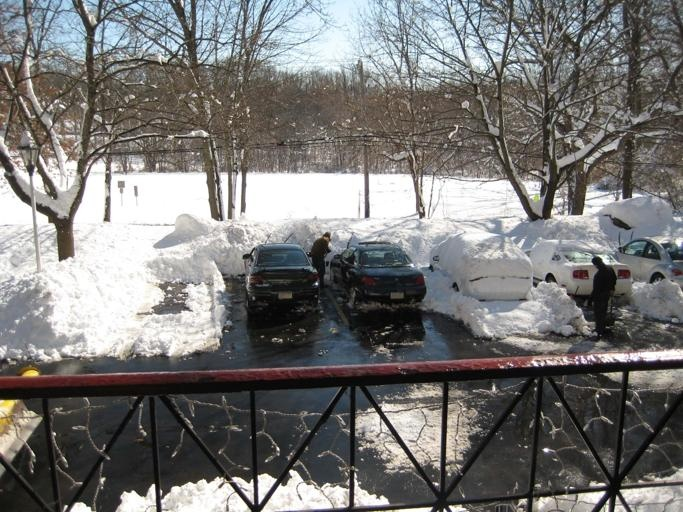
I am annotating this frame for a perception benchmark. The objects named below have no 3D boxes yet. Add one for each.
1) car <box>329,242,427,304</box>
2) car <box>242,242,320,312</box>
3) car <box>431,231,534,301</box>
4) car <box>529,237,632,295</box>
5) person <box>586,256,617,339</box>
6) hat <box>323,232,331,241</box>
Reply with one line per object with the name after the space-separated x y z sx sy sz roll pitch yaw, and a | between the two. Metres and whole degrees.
1.007 0.490 16.486 1.772 1.718 3.279 -3 6 -14 | car
-1.656 0.680 15.462 1.850 1.824 1.788 -3 6 -12 | car
3.904 0.226 16.384 1.553 1.135 2.504 -6 18 -10 | car
6.681 0.223 17.096 1.373 1.069 3.431 -1 11 -6 | car
6.325 0.978 13.801 0.658 1.924 0.429 -6 7 -36 | person
-0.508 -0.625 17.755 0.224 0.264 0.292 -4 -6 18 | hat
